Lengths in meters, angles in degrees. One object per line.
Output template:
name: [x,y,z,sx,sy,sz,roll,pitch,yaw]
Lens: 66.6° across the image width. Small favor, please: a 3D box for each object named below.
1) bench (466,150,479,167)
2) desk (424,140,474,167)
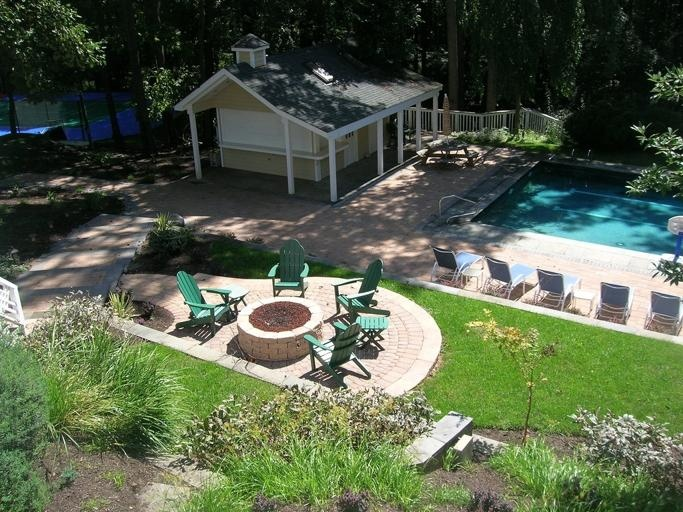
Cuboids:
bench: [6.101,-4.550,24.456,0.737,0.734,0.867,5,25,20]
desk: [5.014,-4.781,24.368,2.480,1.157,1.516,3,20,8]
